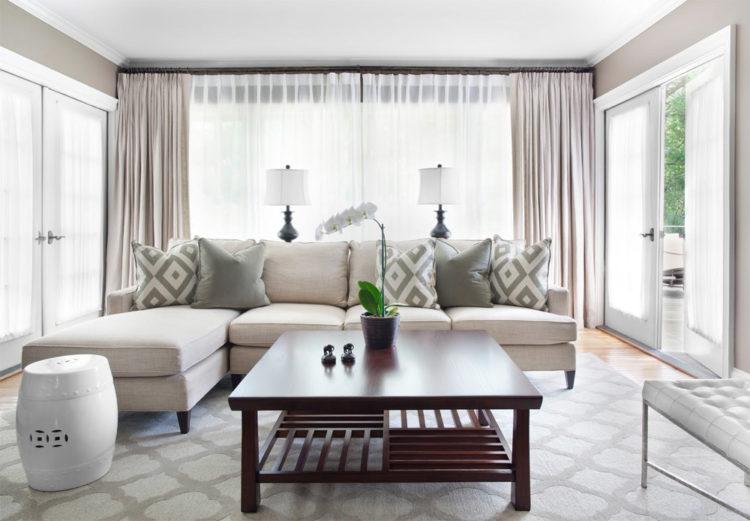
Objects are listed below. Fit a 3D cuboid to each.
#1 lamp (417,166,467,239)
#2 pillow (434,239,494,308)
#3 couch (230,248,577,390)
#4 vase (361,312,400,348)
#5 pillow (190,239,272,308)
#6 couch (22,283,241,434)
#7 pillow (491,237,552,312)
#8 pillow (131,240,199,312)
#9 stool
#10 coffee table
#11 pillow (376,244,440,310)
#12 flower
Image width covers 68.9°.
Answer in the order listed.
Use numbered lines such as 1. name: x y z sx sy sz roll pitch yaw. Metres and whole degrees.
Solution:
1. lamp: 0.647 -0.600 5.586 0.401 0.727 0.618 -1 5 5
2. pillow: 0.760 0.132 4.652 0.541 0.532 0.216 0 -14 22
3. couch: 0.157 0.443 4.749 2.771 1.168 1.140 0 4 -1
4. vase: 0.049 0.450 3.529 0.204 0.165 0.220 3 -7 -19
5. pillow: -1.217 0.125 4.578 0.514 0.490 0.210 4 -17 -23
6. couch: -1.846 0.835 4.399 1.109 0.621 1.577 0 -1 -5
7. pillow: 1.227 0.135 4.615 0.557 0.536 0.298 -2 7 37
8. pillow: -1.720 0.140 4.522 0.528 0.455 0.239 -4 11 -29
9. stool: -1.919 0.963 3.416 0.560 0.787 0.580 10 12 21
10. coffee table: 0.066 0.968 3.371 1.681 0.828 0.830 -1 5 1
11. pillow: 0.282 0.151 4.499 0.505 0.516 0.186 -1 -13 12
12. flower: -0.069 0.000 4.161 0.497 0.877 1.547 -1 5 5
